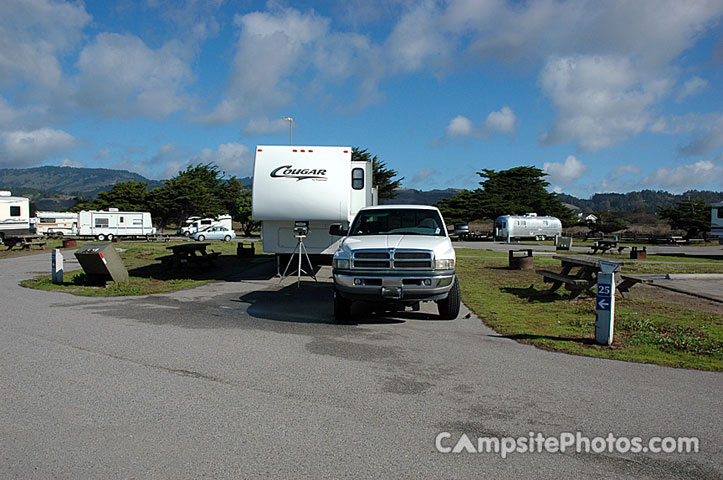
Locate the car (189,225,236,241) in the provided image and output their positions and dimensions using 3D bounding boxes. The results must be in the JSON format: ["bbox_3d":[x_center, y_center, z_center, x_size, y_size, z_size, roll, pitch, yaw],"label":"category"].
[{"bbox_3d":[-16.435,-0.385,46.606,4.052,1.213,1.708,2,-3,-8],"label":"car"}]

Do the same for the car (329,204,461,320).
[{"bbox_3d":[0.769,0.556,10.206,3.144,2.575,3.224,1,6,5],"label":"car"}]

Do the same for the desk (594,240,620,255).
[{"bbox_3d":[17.313,0.627,29.886,1.232,0.956,5.016,4,7,35],"label":"desk"}]
